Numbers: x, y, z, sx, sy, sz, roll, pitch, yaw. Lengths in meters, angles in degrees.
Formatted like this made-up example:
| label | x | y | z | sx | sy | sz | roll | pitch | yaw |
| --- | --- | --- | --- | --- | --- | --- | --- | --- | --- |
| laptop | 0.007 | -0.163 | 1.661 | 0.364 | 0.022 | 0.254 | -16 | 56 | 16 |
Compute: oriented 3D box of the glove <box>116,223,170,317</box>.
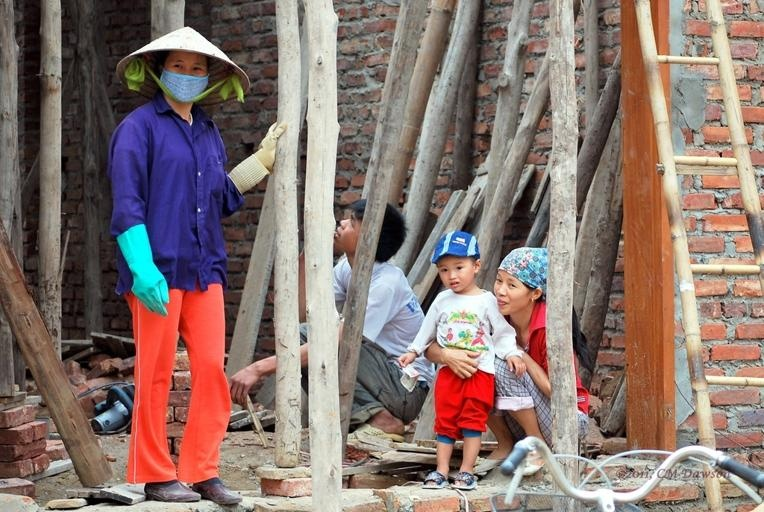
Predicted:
| label | x | y | z | sx | sy | sz | roll | pitch | yaw |
| --- | --- | --- | --- | --- | --- | --- | --- | --- | --- |
| glove | -1.259 | 0.072 | 5.716 | 0.264 | 0.476 | 0.184 | -1 | 2 | -13 |

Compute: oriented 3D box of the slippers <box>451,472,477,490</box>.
| label | x | y | z | sx | sy | sz | roll | pitch | yaw |
| --- | --- | --- | --- | --- | --- | --- | --- | --- | --- |
| slippers | 0.471 | 1.244 | 6.025 | 0.144 | 0.092 | 0.102 | -1 | 2 | -11 |

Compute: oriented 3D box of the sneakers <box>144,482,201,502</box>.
| label | x | y | z | sx | sy | sz | roll | pitch | yaw |
| --- | --- | --- | --- | --- | --- | --- | --- | --- | --- |
| sneakers | -1.124 | 1.247 | 5.840 | 0.234 | 0.078 | 0.131 | -1 | -3 | 14 |

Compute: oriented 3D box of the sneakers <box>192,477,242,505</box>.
| label | x | y | z | sx | sy | sz | roll | pitch | yaw |
| --- | --- | --- | --- | --- | --- | --- | --- | --- | --- |
| sneakers | -0.896 | 1.281 | 5.901 | 0.251 | 0.102 | 0.122 | 7 | 3 | 27 |

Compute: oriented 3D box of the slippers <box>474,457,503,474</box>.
| label | x | y | z | sx | sy | sz | roll | pitch | yaw |
| --- | --- | --- | --- | --- | --- | --- | --- | --- | --- |
| slippers | 0.610 | 1.204 | 6.240 | 0.174 | 0.069 | 0.062 | -17 | 2 | -26 |

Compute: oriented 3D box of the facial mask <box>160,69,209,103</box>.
| label | x | y | z | sx | sy | sz | roll | pitch | yaw |
| --- | --- | --- | --- | --- | --- | --- | --- | --- | --- |
| facial mask | -1.087 | -0.948 | 5.973 | 0.278 | 0.159 | 0.272 | 6 | 18 | -25 |

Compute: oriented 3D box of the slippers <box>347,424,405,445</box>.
| label | x | y | z | sx | sy | sz | roll | pitch | yaw |
| --- | --- | --- | --- | --- | --- | --- | --- | --- | --- |
| slippers | -0.034 | 1.150 | 6.913 | 0.338 | 0.107 | 0.443 | 0 | 1 | 4 |

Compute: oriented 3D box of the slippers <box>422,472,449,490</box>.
| label | x | y | z | sx | sy | sz | roll | pitch | yaw |
| --- | --- | --- | --- | --- | --- | --- | --- | --- | --- |
| slippers | 0.307 | 1.244 | 6.045 | 0.152 | 0.083 | 0.101 | 0 | 2 | 0 |

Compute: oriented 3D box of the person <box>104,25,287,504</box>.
| label | x | y | z | sx | sy | sz | roll | pitch | yaw |
| --- | --- | --- | --- | --- | --- | --- | --- | --- | --- |
| person | -1.078 | 0.044 | 5.952 | 0.817 | 2.589 | 0.540 | -1 | 3 | -20 |

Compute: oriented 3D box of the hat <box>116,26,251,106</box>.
| label | x | y | z | sx | sy | sz | roll | pitch | yaw |
| --- | --- | --- | --- | --- | --- | --- | --- | --- | --- |
| hat | -1.109 | -1.072 | 6.050 | 0.699 | 0.393 | 0.643 | 2 | -16 | -21 |

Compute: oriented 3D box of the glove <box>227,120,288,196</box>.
| label | x | y | z | sx | sy | sz | roll | pitch | yaw |
| --- | --- | --- | --- | --- | --- | --- | --- | --- | --- |
| glove | -0.681 | -0.540 | 6.132 | 0.178 | 0.179 | 0.601 | 0 | 34 | 31 |

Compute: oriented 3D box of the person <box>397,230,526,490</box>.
| label | x | y | z | sx | sy | sz | roll | pitch | yaw |
| --- | --- | --- | --- | --- | --- | --- | --- | --- | --- |
| person | 0.451 | 0.576 | 6.134 | 0.701 | 1.416 | 0.363 | 0 | 2 | 1 |
